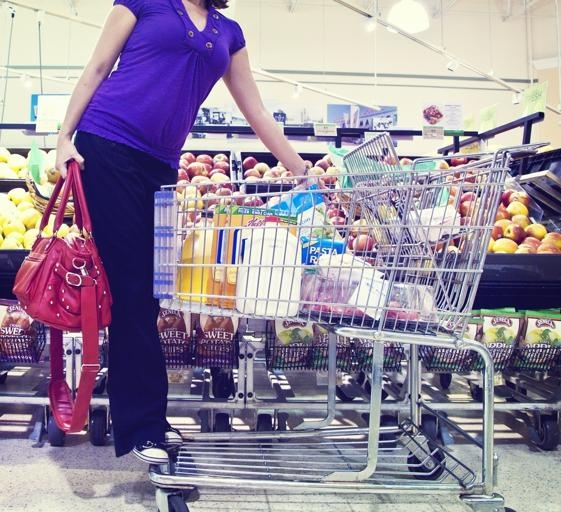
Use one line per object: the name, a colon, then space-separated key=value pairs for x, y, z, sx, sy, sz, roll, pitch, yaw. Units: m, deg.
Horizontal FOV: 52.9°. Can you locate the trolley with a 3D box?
trolley: x=0.239 y=0.251 z=2.522 sx=1.637 sy=1.671 sz=1.044 roll=1 pitch=-1 yaw=-3

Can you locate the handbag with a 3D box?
handbag: x=-0.736 y=-0.021 z=1.929 sx=0.318 sy=0.606 sz=0.233 roll=4 pitch=3 yaw=-14

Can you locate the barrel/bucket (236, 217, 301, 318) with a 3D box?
barrel/bucket: x=-0.038 y=0.046 z=1.851 sx=0.218 sy=0.318 sz=0.090 roll=5 pitch=3 yaw=1
